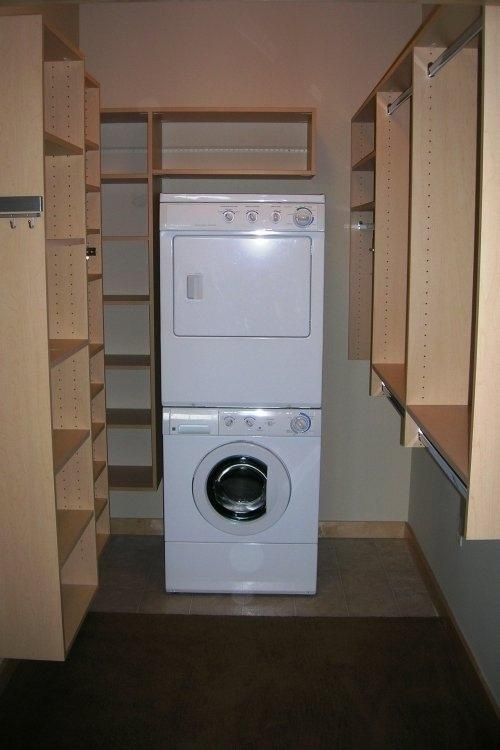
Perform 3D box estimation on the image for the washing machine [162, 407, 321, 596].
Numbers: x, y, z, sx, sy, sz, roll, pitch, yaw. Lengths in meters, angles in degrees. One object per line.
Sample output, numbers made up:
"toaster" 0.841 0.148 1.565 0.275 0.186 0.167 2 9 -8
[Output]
"washing machine" -0.058 0.524 2.799 0.704 1.077 0.728 0 3 1
